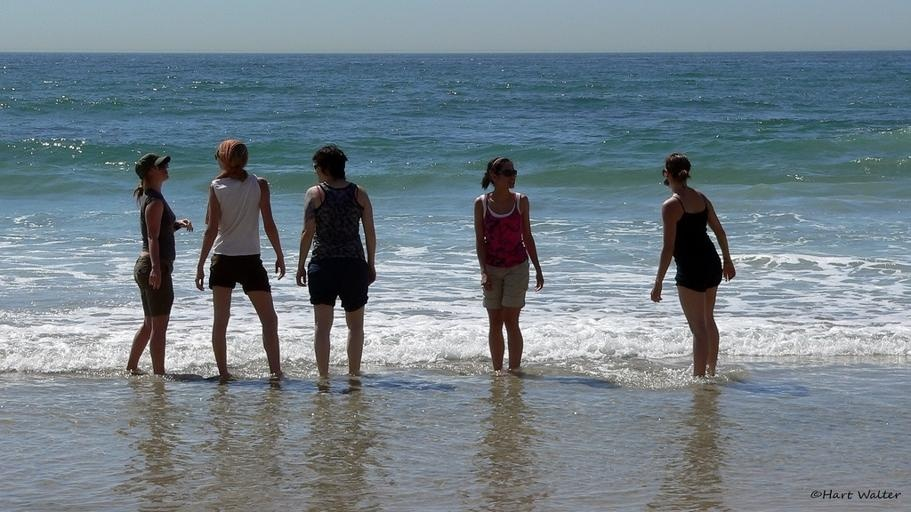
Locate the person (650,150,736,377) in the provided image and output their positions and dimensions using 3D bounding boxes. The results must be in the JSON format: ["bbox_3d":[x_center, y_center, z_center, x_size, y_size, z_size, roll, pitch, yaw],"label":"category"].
[{"bbox_3d":[3.391,0.166,15.945,1.168,3.264,0.611,-9,15,-31],"label":"person"}]

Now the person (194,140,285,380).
[{"bbox_3d":[-3.125,0.058,15.946,1.221,3.488,0.730,-3,13,-8],"label":"person"}]

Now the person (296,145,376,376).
[{"bbox_3d":[-1.727,0.092,15.892,1.112,3.366,0.568,-3,13,-6],"label":"person"}]

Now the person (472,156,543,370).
[{"bbox_3d":[0.747,0.150,16.090,0.873,3.167,0.388,-1,13,1],"label":"person"}]
